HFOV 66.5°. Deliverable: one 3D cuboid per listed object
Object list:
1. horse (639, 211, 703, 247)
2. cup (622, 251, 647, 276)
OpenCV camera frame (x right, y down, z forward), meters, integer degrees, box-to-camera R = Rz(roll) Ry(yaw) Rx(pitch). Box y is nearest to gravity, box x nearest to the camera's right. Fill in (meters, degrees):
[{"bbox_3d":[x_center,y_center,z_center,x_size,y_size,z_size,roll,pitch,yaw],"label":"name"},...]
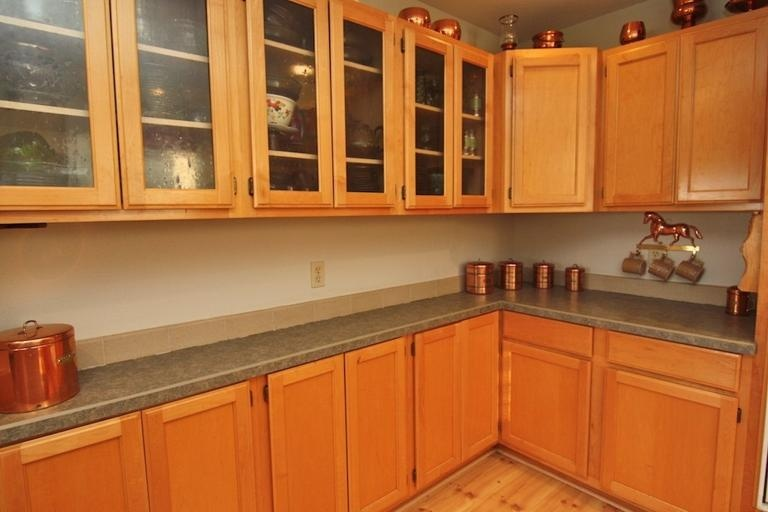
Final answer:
[{"bbox_3d":[1.827,-0.170,3.719,0.087,0.197,0.368,-5,11,-45],"label":"horse"},{"bbox_3d":[1.663,0.049,3.897,0.112,0.161,0.186,0,9,30],"label":"cup"}]
